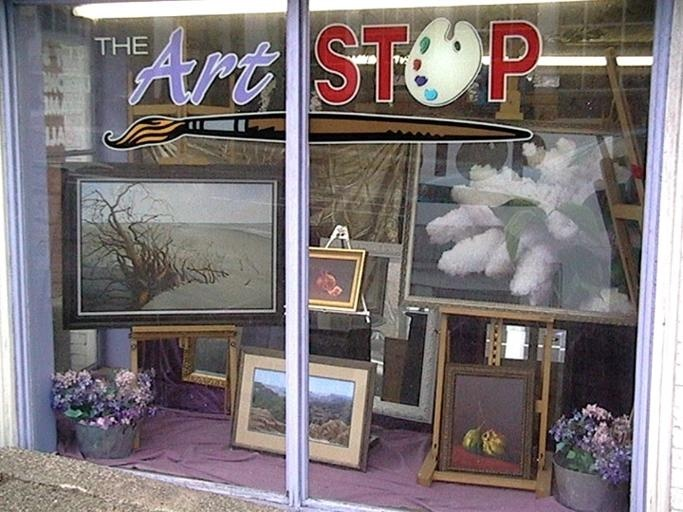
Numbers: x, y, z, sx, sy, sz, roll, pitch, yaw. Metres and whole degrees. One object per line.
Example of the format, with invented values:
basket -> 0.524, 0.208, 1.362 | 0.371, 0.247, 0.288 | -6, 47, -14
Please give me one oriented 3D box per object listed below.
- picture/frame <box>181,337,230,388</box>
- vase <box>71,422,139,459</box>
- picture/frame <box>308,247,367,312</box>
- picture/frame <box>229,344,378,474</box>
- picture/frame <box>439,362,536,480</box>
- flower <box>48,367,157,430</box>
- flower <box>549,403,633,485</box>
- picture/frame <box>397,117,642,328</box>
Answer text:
picture/frame -> -0.909, 0.712, 4.416 | 0.318, 0.336, 0.024 | 5, 5, 13
vase -> -1.604, 1.256, 4.408 | 0.303, 0.156, 0.262 | 3, -5, -20
picture/frame -> -0.043, 0.144, 4.104 | 0.354, 0.329, 0.074 | 6, -7, 0
picture/frame -> -0.199, 0.975, 4.111 | 0.771, 0.583, 0.052 | 4, -4, 9
picture/frame -> 0.930, 1.041, 4.047 | 0.643, 0.784, 0.053 | 3, -5, 9
flower -> -1.626, 0.951, 4.442 | 0.457, 0.227, 0.463 | 10, 1, 19
flower -> 1.486, 1.091, 3.918 | 0.412, 0.300, 0.416 | -3, 5, -36
picture/frame -> 1.137, -0.237, 3.955 | 1.205, 0.974, 0.063 | 1, 2, 14
